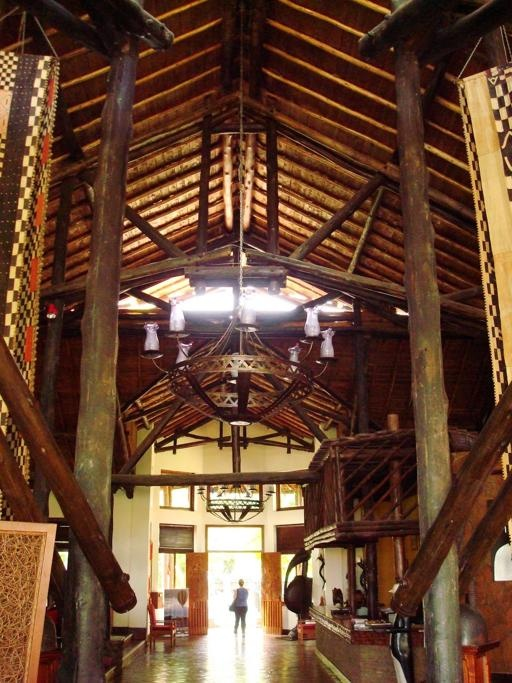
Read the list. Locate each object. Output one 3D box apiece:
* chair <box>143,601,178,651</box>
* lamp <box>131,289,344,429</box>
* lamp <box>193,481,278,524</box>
[{"bbox_3d":[-1.904,5.765,12.666,0.627,0.778,0.623,-12,-19,24],"label":"chair"},{"bbox_3d":[-0.162,0.269,6.276,1.705,1.195,1.711,-9,-23,24],"label":"lamp"},{"bbox_3d":[-0.502,3.745,14.335,2.090,1.059,2.337,0,-22,0],"label":"lamp"}]
